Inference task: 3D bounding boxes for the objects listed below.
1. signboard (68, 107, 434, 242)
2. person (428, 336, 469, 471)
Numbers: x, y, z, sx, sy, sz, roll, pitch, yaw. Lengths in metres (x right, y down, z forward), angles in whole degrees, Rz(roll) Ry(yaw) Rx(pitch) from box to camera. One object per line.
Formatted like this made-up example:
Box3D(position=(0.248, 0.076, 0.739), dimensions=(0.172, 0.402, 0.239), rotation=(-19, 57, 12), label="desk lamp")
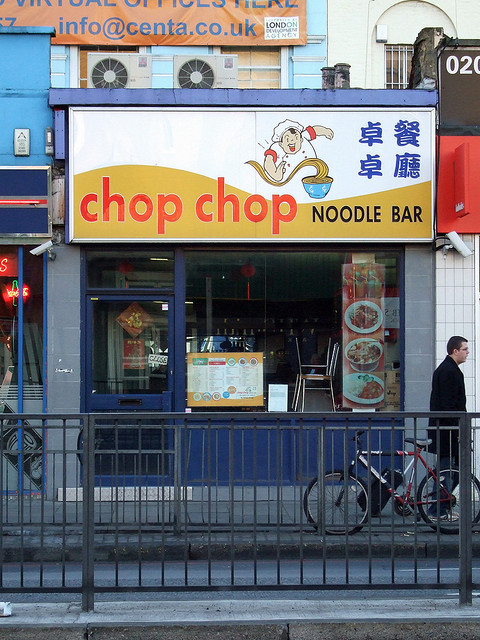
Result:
Box3D(position=(0.112, -1.634, 17.731), dimensions=(4.043, 1.622, 0.448), rotation=(-3, 13, -1), label="signboard")
Box3D(position=(2.161, 1.056, 16.534), dimensions=(0.387, 1.850, 0.589), rotation=(1, 12, 2), label="person")
